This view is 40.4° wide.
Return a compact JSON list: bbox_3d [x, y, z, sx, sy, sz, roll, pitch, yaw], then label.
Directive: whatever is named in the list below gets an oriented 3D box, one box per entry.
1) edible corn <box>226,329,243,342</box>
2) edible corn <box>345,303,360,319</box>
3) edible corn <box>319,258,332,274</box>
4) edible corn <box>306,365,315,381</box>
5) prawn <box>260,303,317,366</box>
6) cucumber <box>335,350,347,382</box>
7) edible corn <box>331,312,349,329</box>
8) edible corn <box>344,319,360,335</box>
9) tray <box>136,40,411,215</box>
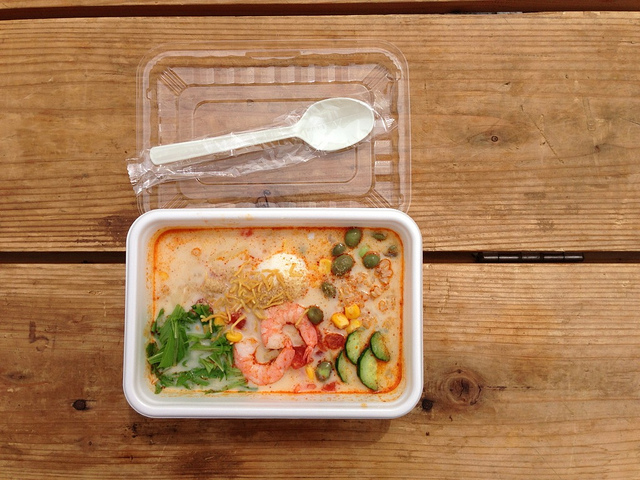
[{"bbox_3d":[-0.401,0.443,4.046,0.056,0.022,0.044,-7,72,-9],"label":"edible corn"},{"bbox_3d":[0.156,0.331,4.070,0.061,0.058,0.063,-2,102,0],"label":"edible corn"},{"bbox_3d":[0.028,0.122,4.101,0.053,0.018,0.070,2,84,-2],"label":"edible corn"},{"bbox_3d":[-0.046,0.625,4.082,0.051,0.018,0.065,0,83,3],"label":"edible corn"},{"bbox_3d":[-0.123,0.426,4.076,0.337,0.077,0.273,22,72,28],"label":"prawn"},{"bbox_3d":[0.102,0.593,4.086,0.028,0.098,0.107,0,85,18],"label":"cucumber"},{"bbox_3d":[0.099,0.378,4.083,0.067,0.048,0.082,-34,86,-5],"label":"edible corn"},{"bbox_3d":[0.154,0.405,4.083,0.063,0.067,0.036,37,124,35],"label":"edible corn"},{"bbox_3d":[-0.233,-0.653,3.964,1.134,0.168,0.792,-2,92,4],"label":"tray"}]
